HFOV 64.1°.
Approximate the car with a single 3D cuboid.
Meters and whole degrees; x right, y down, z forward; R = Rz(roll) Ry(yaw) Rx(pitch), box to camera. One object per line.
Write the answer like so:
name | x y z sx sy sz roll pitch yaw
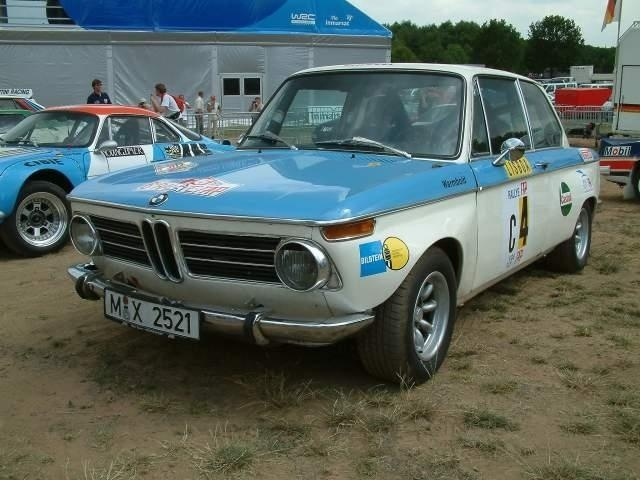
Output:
car | 0.684 -0.302 4.588 2.468 1.487 4.439 7 10 43
